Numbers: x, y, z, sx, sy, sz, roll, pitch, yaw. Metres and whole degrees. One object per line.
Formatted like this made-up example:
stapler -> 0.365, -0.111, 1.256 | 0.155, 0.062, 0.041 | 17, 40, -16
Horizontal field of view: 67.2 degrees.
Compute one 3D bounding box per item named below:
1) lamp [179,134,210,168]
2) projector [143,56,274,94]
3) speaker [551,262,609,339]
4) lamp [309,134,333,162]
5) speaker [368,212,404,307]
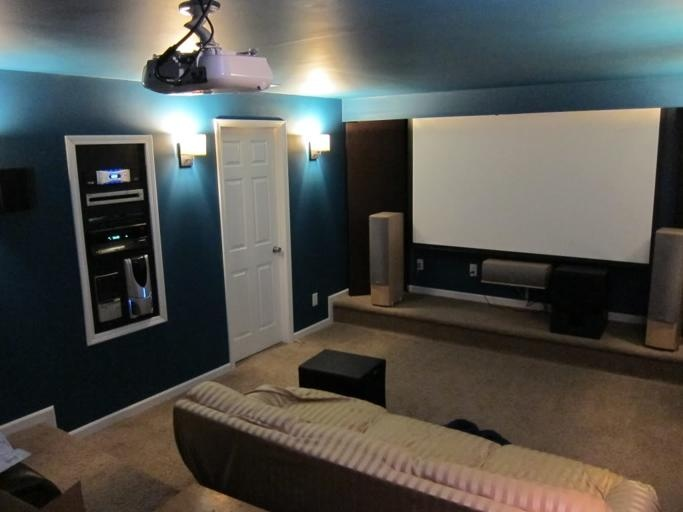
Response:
lamp -> -1.353, -1.003, 4.942 | 0.279, 0.441, 0.300 | 1, 11, 1
projector -> -0.666, -0.922, 2.599 | 0.633, 0.193, 0.648 | -8, 18, -21
speaker -> 2.492, 0.474, 5.389 | 0.535, 0.636, 0.403 | 5, 15, 24
lamp -> -0.245, -1.274, 6.062 | 0.293, 0.306, 0.291 | -10, 15, -32
speaker -> 0.603, 0.046, 6.355 | 0.495, 1.107, 0.359 | -6, 14, -17
